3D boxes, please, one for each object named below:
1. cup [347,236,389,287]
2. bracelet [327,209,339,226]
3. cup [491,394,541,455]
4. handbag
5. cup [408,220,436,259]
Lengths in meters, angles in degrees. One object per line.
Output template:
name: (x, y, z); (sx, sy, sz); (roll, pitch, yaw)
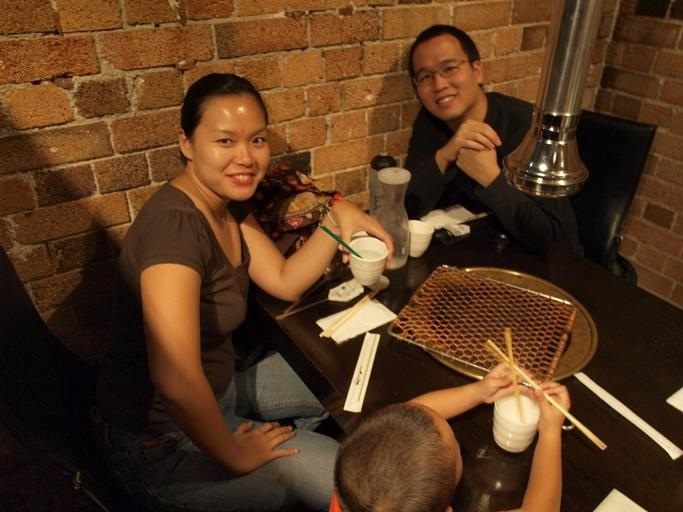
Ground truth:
cup: (0.088, 0.002, 1.738); (0.149, 0.137, 0.162); (0, 40, 0)
bracelet: (-0.038, -0.142, 1.858); (0.014, 0.054, 0.054); (-20, 45, -2)
cup: (0.431, 0.421, 1.277); (0.123, 0.110, 0.136); (4, 26, 10)
handbag: (-0.206, -0.184, 2.011); (0.338, 0.095, 0.329); (40, 81, 5)
cup: (0.291, -0.069, 1.871); (0.112, 0.108, 0.124); (4, 24, 7)
